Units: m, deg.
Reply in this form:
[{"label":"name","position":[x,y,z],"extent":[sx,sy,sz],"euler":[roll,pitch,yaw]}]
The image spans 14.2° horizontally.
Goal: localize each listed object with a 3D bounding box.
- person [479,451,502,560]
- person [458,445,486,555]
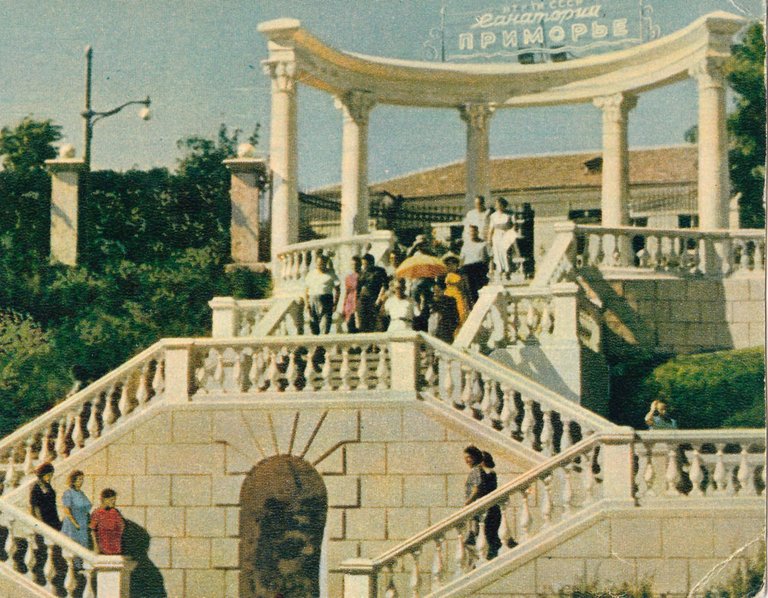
[{"label":"person","position":[2.231,4.069,60.230],"extent":[0.325,2.069,0.922],"euler":[-1,-1,2]},{"label":"person","position":[1.930,3.981,60.673],"extent":[0.614,1.977,0.779],"euler":[-1,9,1]}]
